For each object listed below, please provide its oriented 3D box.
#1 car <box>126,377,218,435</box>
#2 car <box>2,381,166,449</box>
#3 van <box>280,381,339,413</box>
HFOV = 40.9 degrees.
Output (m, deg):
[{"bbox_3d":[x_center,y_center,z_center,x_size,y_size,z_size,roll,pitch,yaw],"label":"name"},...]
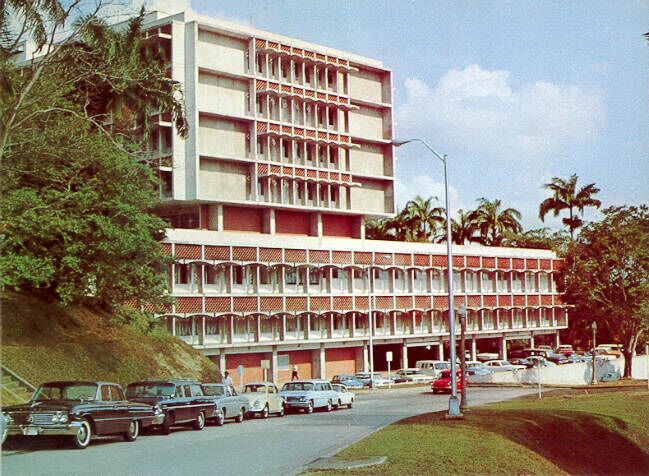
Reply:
[{"bbox_3d":[-7.431,7.884,40.878,2.494,2.384,5.746,-4,-10,18],"label":"car"},{"bbox_3d":[-9.822,7.263,35.489,2.164,2.736,6.212,-11,-16,34],"label":"car"},{"bbox_3d":[-0.808,9.525,52.436,2.734,2.184,3.699,-8,-12,16],"label":"van"}]
